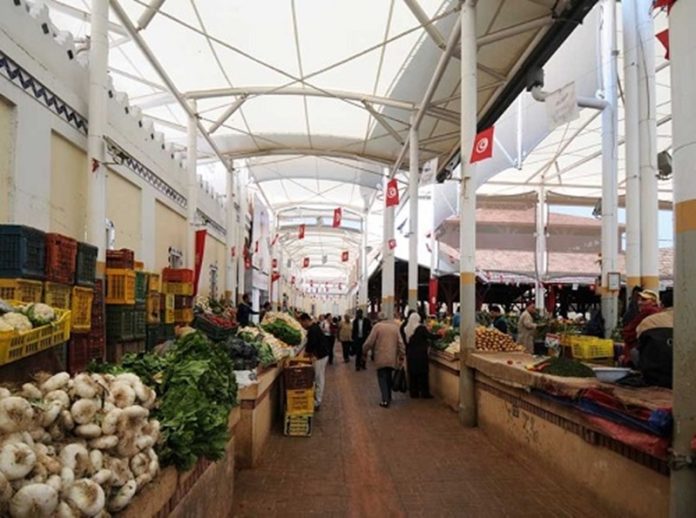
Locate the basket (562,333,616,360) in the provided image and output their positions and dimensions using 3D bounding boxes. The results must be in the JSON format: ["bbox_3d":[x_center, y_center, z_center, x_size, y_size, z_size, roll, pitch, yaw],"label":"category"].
[{"bbox_3d":[4.357,1.615,9.197,0.654,0.411,1.165,-1,-8,12],"label":"basket"}]

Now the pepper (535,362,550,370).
[{"bbox_3d":[2.748,1.505,7.101,0.172,0.104,0.341,-2,-8,23],"label":"pepper"}]

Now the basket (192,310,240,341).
[{"bbox_3d":[-2.466,1.219,9.352,0.468,0.234,0.962,24,0,-11],"label":"basket"}]

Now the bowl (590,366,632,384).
[{"bbox_3d":[3.056,1.331,5.887,0.237,0.111,0.233,2,-6,0],"label":"bowl"}]

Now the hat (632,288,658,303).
[{"bbox_3d":[4.815,0.598,8.224,0.366,0.216,0.240,18,-2,-8],"label":"hat"}]

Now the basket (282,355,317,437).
[{"bbox_3d":[-0.791,2.237,8.003,0.461,1.109,0.508,2,-7,-8],"label":"basket"}]

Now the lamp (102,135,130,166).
[{"bbox_3d":[-4.398,-1.991,9.538,0.327,0.534,0.536,2,-7,-11],"label":"lamp"}]

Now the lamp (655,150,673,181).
[{"bbox_3d":[7.404,-2.215,11.851,0.270,0.648,0.941,-3,-8,31],"label":"lamp"}]
